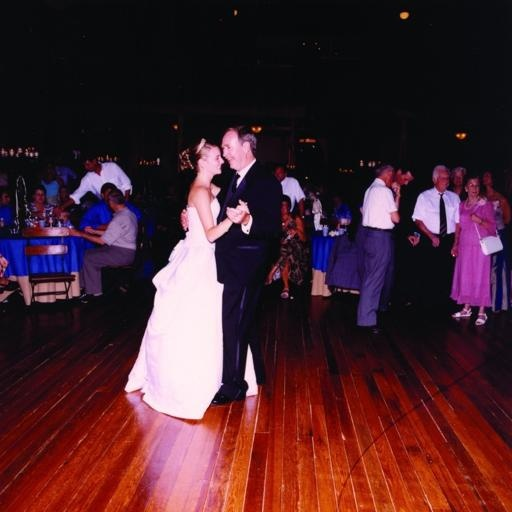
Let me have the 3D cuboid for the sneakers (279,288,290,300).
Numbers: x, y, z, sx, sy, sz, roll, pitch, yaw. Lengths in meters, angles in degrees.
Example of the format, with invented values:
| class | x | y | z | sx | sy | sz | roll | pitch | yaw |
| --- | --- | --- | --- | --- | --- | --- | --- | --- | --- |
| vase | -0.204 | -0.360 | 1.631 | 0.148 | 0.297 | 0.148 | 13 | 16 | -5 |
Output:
| class | x | y | z | sx | sy | sz | roll | pitch | yaw |
| --- | --- | --- | --- | --- | --- | --- | --- | --- | --- |
| sneakers | 0.382 | 0.525 | 5.807 | 0.101 | 0.121 | 0.264 | -1 | -2 | 4 |

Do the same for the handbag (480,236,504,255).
| class | x | y | z | sx | sy | sz | roll | pitch | yaw |
| --- | --- | --- | --- | --- | --- | --- | --- | --- | --- |
| handbag | 2.458 | -0.101 | 4.515 | 0.255 | 0.208 | 0.121 | -1 | 6 | -15 |

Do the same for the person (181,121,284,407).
| class | x | y | z | sx | sy | sz | roll | pitch | yaw |
| --- | --- | --- | --- | --- | --- | --- | --- | --- | --- |
| person | -0.033 | 0.097 | 2.522 | 0.389 | 1.653 | 0.434 | -3 | 7 | -32 |

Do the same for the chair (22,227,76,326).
| class | x | y | z | sx | sy | sz | roll | pitch | yaw |
| --- | --- | --- | --- | --- | --- | --- | --- | --- | --- |
| chair | -2.354 | 0.127 | 4.987 | 0.543 | 0.909 | 0.666 | -2 | 6 | -25 |

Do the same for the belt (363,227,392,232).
| class | x | y | z | sx | sy | sz | roll | pitch | yaw |
| --- | --- | --- | --- | --- | --- | --- | --- | --- | --- |
| belt | 1.182 | -0.261 | 4.222 | 0.288 | 0.041 | 0.165 | 5 | 7 | 33 |

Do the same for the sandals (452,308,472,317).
| class | x | y | z | sx | sy | sz | roll | pitch | yaw |
| --- | --- | --- | --- | --- | --- | --- | --- | --- | --- |
| sandals | 2.272 | 0.655 | 4.785 | 0.216 | 0.126 | 0.099 | -3 | 7 | 10 |

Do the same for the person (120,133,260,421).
| class | x | y | z | sx | sy | sz | roll | pitch | yaw |
| --- | --- | --- | --- | --- | --- | --- | --- | --- | --- |
| person | -0.275 | 0.141 | 2.712 | 0.732 | 1.511 | 0.674 | -7 | 17 | -4 |

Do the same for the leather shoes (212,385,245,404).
| class | x | y | z | sx | sy | sz | roll | pitch | yaw |
| --- | --- | --- | --- | --- | --- | --- | --- | --- | --- |
| leather shoes | -0.157 | 0.849 | 2.671 | 0.239 | 0.121 | 0.084 | 4 | 0 | -35 |

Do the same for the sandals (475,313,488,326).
| class | x | y | z | sx | sy | sz | roll | pitch | yaw |
| --- | --- | --- | --- | --- | --- | --- | --- | --- | --- |
| sandals | 2.408 | 0.675 | 4.585 | 0.077 | 0.116 | 0.246 | -3 | 0 | 28 |
